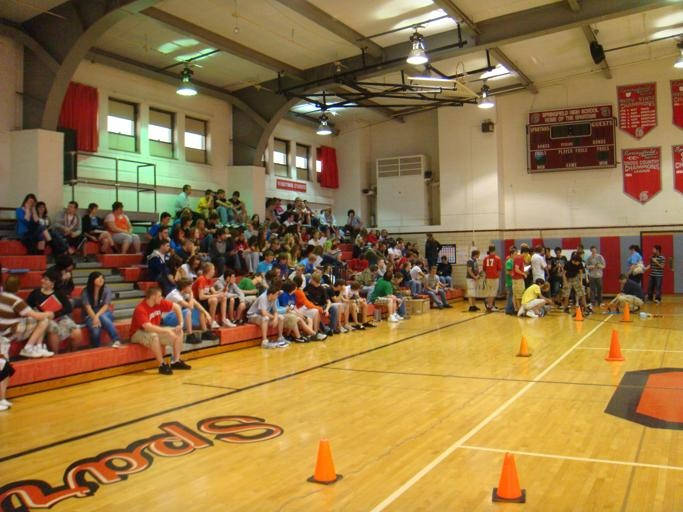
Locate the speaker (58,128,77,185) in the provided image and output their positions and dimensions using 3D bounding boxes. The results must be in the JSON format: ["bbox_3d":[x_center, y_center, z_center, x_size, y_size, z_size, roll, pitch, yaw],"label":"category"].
[{"bbox_3d":[-6.684,-2.509,12.611,0.396,1.467,1.088,-2,3,-27],"label":"speaker"}]

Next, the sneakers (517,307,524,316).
[{"bbox_3d":[4.799,1.462,13.815,0.159,0.263,0.261,0,3,15],"label":"sneakers"}]

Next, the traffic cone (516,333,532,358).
[{"bbox_3d":[3.108,1.587,8.975,0.343,0.450,0.308,0,-4,12],"label":"traffic cone"}]

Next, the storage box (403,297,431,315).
[{"bbox_3d":[2.180,1.441,14.817,0.543,0.362,0.730,-1,-1,-3],"label":"storage box"}]

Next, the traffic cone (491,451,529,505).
[{"bbox_3d":[1.382,1.803,4.264,0.281,0.375,0.268,0,3,11],"label":"traffic cone"}]

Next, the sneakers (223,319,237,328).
[{"bbox_3d":[-2.141,1.265,9.807,0.285,0.123,0.103,4,1,18],"label":"sneakers"}]

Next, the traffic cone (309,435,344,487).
[{"bbox_3d":[-0.152,1.810,4.633,0.348,0.354,0.319,1,2,-32],"label":"traffic cone"}]

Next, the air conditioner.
[{"bbox_3d":[2.543,-2.637,20.657,2.693,3.772,1.308,-3,-7,24],"label":"air conditioner"}]

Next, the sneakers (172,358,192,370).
[{"bbox_3d":[-2.506,1.740,8.224,0.388,0.154,0.130,0,-5,3],"label":"sneakers"}]

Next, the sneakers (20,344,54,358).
[{"bbox_3d":[-4.262,1.329,7.176,0.250,0.092,0.253,3,-2,10],"label":"sneakers"}]

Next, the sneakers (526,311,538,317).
[{"bbox_3d":[5.006,1.501,13.464,0.281,0.172,0.361,0,3,20],"label":"sneakers"}]
